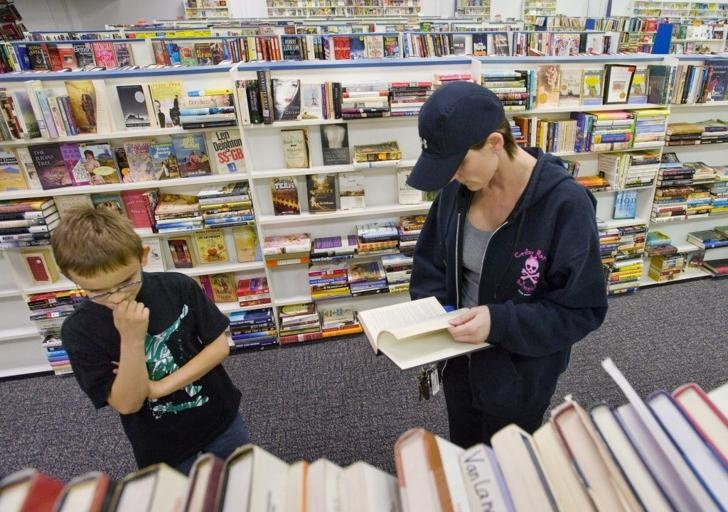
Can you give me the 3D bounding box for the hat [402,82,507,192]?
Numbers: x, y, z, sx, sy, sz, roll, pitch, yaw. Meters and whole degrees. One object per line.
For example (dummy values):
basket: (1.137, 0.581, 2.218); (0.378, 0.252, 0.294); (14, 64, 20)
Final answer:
hat: (0.385, -0.507, 2.048); (0.413, 0.402, 0.205); (-18, 29, -25)
